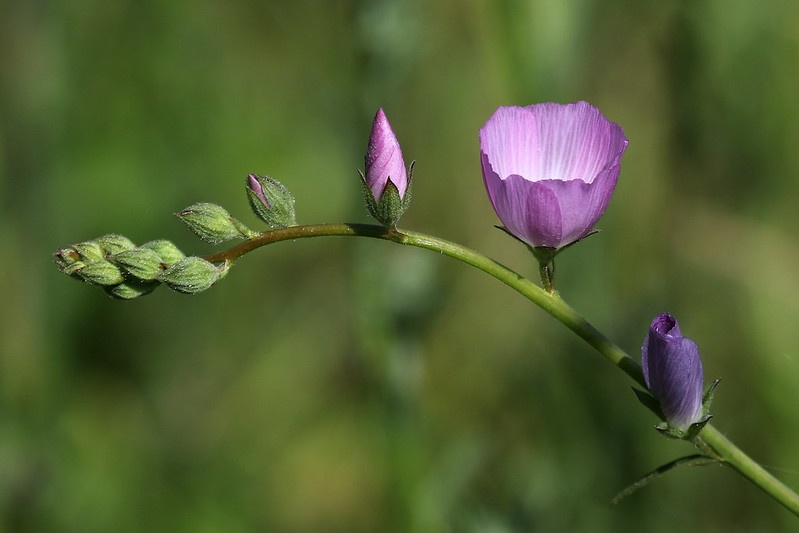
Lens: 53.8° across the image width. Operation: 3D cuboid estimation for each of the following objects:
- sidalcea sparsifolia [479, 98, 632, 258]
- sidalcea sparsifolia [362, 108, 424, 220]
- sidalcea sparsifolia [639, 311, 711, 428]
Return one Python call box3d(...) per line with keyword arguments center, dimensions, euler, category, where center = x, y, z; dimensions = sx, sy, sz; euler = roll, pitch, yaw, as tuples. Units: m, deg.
box3d(center=(0.280, -0.190, 1.494), dimensions=(0.269, 0.261, 0.277), euler=(-16, 39, -21), category="sidalcea sparsifolia")
box3d(center=(-0.024, -0.193, 1.537), dimensions=(0.097, 0.229, 0.151), euler=(-1, 13, 0), category="sidalcea sparsifolia")
box3d(center=(0.499, 0.191, 1.436), dimensions=(0.117, 0.219, 0.045), euler=(1, 13, 9), category="sidalcea sparsifolia")
